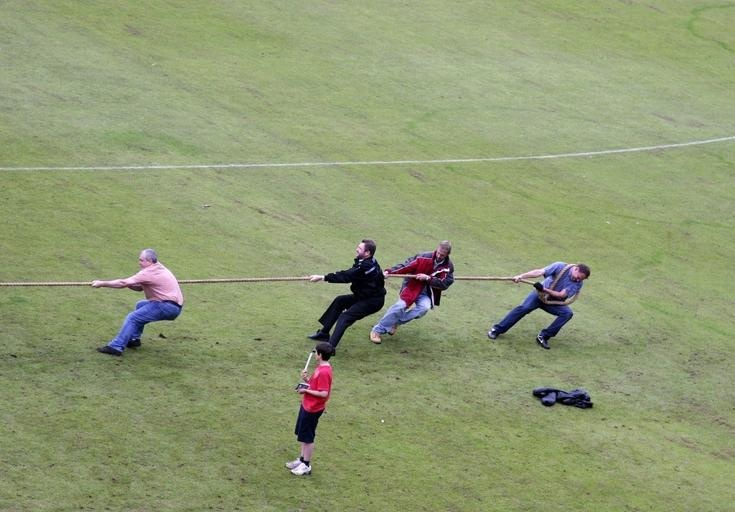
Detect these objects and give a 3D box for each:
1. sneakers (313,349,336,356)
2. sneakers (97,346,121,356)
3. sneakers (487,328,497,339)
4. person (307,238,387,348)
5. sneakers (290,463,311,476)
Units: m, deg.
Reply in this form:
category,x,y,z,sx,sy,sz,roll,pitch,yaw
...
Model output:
category,x,y,z,sx,sy,sz,roll,pitch,yaw
sneakers,-0.898,2.122,30.610,0.501,0.108,0.286,1,4,-1
sneakers,-5.824,2.187,32.345,0.669,0.176,0.190,10,24,-8
sneakers,3.120,1.958,35.014,0.169,0.117,0.343,3,14,1
person,-0.318,0.881,33.777,1.359,2.851,1.525,33,33,13
sneakers,-1.395,4.650,30.808,0.559,0.173,0.218,0,28,-12
